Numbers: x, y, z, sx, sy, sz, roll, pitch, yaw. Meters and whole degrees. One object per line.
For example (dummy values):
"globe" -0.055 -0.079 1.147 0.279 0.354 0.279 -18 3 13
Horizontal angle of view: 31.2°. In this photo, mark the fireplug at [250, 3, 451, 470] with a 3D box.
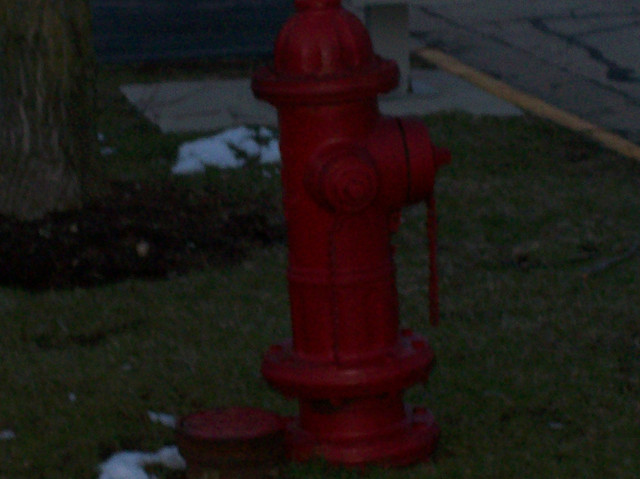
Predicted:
"fireplug" 0.152 0.034 6.091 0.972 2.404 0.814 -2 22 6
